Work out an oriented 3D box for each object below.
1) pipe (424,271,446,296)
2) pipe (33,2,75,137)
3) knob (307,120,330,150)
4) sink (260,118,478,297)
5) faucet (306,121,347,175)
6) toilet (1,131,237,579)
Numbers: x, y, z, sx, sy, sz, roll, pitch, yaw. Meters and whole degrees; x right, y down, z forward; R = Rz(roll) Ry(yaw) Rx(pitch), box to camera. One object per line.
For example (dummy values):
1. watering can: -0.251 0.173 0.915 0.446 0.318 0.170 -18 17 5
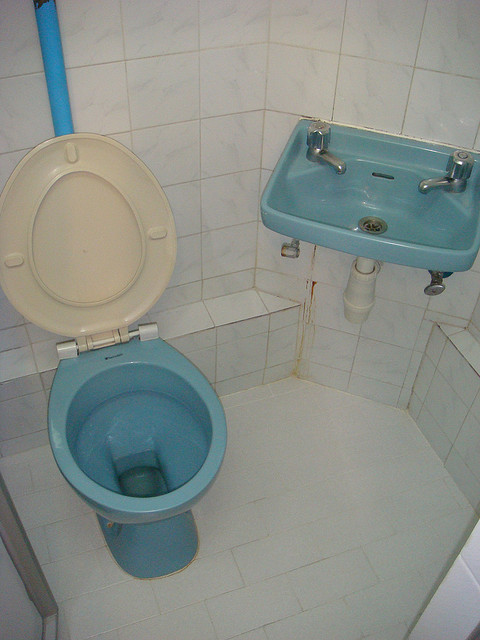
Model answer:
1. pipe: 0.538 -0.104 1.437 0.053 0.053 0.081 7 65 10
2. pipe: -0.394 -0.531 1.115 0.065 0.260 0.050 -25 48 -27
3. knob: 0.206 -0.486 1.391 0.067 0.057 0.066 7 47 6
4. sink: 0.331 -0.333 1.294 0.522 0.175 0.419 16 42 15
5. faucet: 0.229 -0.451 1.377 0.072 0.091 0.145 -22 48 -19
6. toilet: -0.294 0.078 1.269 0.417 0.936 0.589 -17 44 -20
